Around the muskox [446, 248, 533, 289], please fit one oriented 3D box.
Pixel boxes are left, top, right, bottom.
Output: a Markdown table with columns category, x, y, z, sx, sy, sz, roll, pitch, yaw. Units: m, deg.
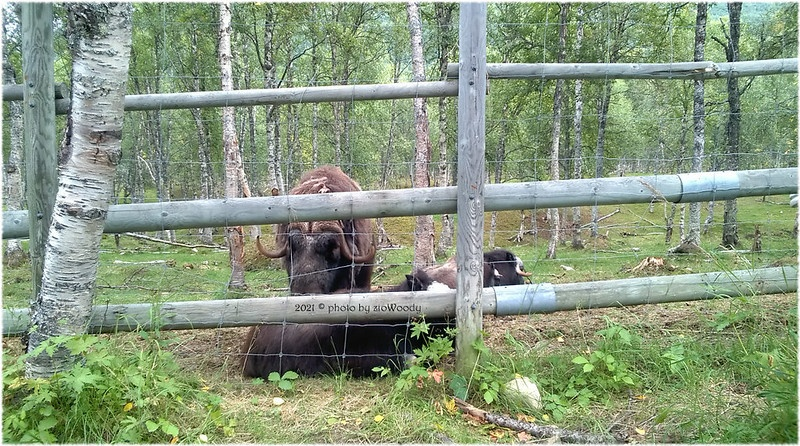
| category | x | y | z | sx | sy | sz | roll | pitch | yaw |
| --- | --- | --- | --- | --- | --- | --- | --- | --- | --- |
| muskox | 2.127 | 1.133 | 18.076 | 2.676 | 1.285 | 0.835 | -3 | 5 | -20 |
